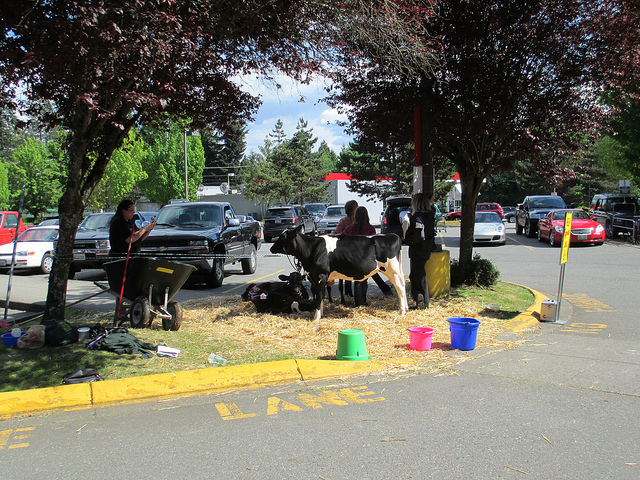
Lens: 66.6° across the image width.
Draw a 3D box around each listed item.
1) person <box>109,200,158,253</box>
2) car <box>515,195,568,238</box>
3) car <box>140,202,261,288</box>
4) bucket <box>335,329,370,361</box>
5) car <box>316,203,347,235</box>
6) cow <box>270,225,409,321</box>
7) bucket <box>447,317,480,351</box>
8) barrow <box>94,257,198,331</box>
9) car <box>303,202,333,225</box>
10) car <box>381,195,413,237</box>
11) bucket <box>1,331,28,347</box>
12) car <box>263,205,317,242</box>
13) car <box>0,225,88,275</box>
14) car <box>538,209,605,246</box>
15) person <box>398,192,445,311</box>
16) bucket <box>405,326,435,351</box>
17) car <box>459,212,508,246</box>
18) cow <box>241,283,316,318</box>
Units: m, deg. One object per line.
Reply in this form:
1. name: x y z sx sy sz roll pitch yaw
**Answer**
1. person: -3.360 -0.223 8.614 0.622 0.964 0.815 -5 7 -34
2. car: 13.199 -1.567 29.911 2.209 2.061 4.776 -1 -1 2
3. car: -3.251 0.024 13.936 1.924 1.449 3.375 -1 -2 12
4. bucket: 0.441 1.471 6.923 0.476 0.453 0.453 1 12 0
5. car: 1.059 -1.396 34.483 2.157 2.413 4.983 2 9 1
6. cow: 0.357 0.647 9.454 2.566 1.749 0.703 0 5 0
7. bucket: 2.164 1.404 7.365 0.432 0.389 0.465 0 -3 0
8. barrow: -3.007 0.902 8.387 1.599 0.898 1.028 -5 -9 34
9. car: -0.326 -2.349 40.146 1.695 1.495 3.009 -1 -3 1
10. car: 4.086 -1.158 24.716 1.662 1.836 2.956 -1 12 2
11. bucket: -4.488 1.447 7.185 0.289 0.141 0.346 1 -8 0
12. car: -1.711 -1.074 29.644 1.799 1.625 3.787 0 7 20
13. car: -7.852 0.346 13.891 1.585 1.349 3.647 0 -1 15
14. car: 12.001 -0.593 23.311 2.070 1.642 3.037 0 6 8
15. person: 1.979 0.216 9.771 0.523 2.297 0.614 2 6 28
16. bucket: 1.512 1.477 7.305 0.322 0.347 0.286 0 6 13
17. car: 8.505 -0.539 24.443 1.434 1.563 2.788 1 6 18
18. cow: -0.767 1.239 9.479 0.826 0.315 0.675 23 -3 -12
